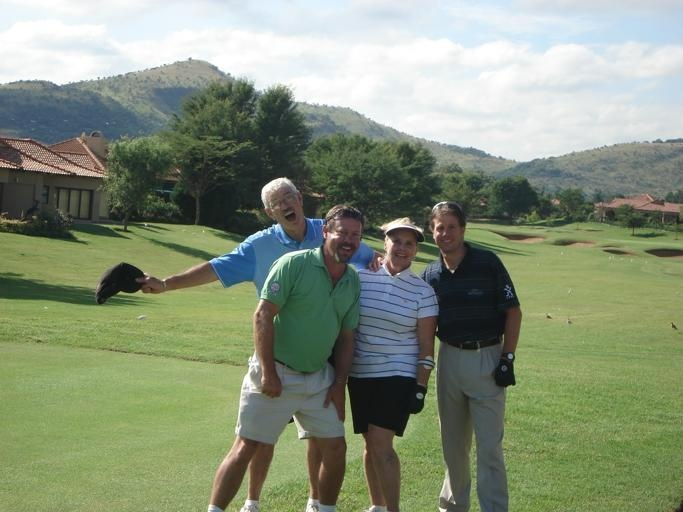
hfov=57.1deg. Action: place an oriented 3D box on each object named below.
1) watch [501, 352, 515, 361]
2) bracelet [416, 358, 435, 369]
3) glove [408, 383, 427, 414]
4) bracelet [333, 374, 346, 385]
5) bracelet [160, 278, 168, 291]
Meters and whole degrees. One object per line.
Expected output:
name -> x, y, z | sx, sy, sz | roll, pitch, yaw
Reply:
watch -> 1.605, 0.969, 6.059 | 0.104, 0.068, 0.097 | -7, -2, -1
bracelet -> 0.800, 1.014, 5.953 | 0.099, 0.083, 0.117 | 9, 0, -5
glove -> 0.710, 1.347, 5.854 | 0.184, 0.250, 0.092 | 15, -28, -2
bracelet -> -0.021, 1.152, 5.823 | 0.096, 0.095, 0.098 | 3, 4, 9
bracelet -> -1.691, 0.279, 6.003 | 0.058, 0.082, 0.123 | 2, 0, -17
